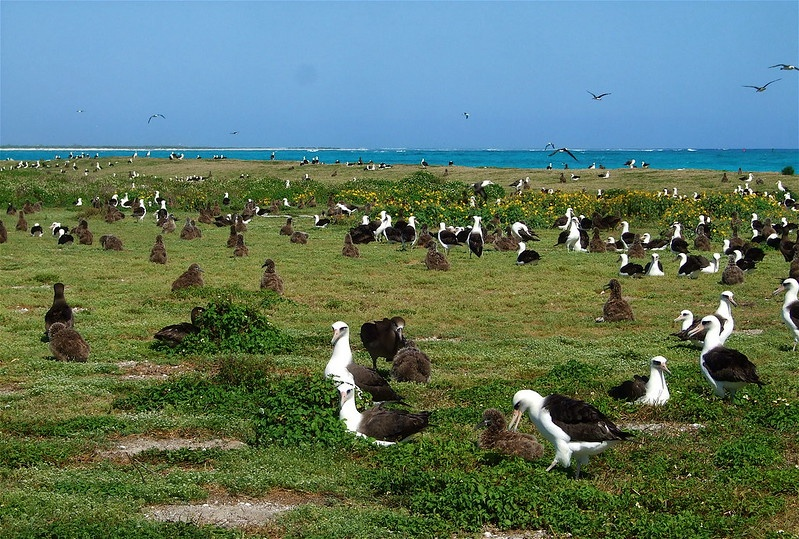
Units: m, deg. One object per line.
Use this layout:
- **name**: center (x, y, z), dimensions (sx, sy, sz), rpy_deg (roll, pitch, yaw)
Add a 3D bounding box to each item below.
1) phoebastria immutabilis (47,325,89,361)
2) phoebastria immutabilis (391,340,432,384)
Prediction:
- **phoebastria immutabilis**: center (-8.663, 1.901, 30.816), dimensions (0.805, 0.817, 1.115), rpy_deg (-23, 40, -28)
- **phoebastria immutabilis**: center (0.325, 2.487, 30.803), dimensions (0.885, 1.020, 0.448), rpy_deg (-2, -31, -2)
